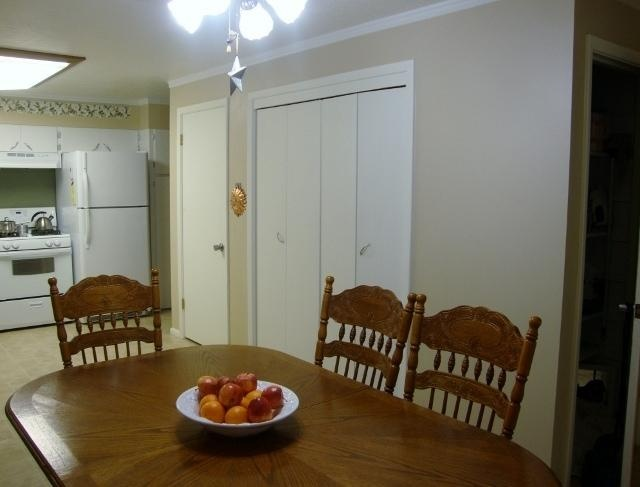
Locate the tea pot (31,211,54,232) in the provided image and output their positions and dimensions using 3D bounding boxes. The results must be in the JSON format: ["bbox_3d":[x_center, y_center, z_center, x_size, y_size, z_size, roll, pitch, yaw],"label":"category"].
[{"bbox_3d":[-3.700,-0.295,6.250,0.252,0.288,0.316,1,9,-16],"label":"tea pot"}]

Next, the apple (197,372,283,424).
[{"bbox_3d":[-0.285,0.523,1.717,0.177,0.086,0.184,3,1,18],"label":"apple"}]
